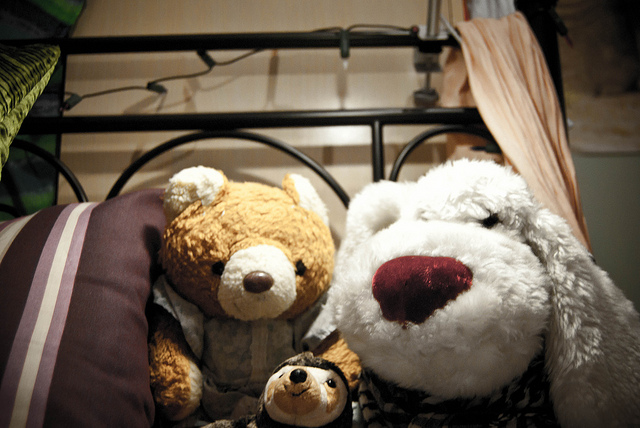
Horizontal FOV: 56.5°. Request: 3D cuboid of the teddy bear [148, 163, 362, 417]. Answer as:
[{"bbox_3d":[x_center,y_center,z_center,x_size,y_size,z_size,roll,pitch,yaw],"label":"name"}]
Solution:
[{"bbox_3d":[-0.164,0.218,1.519,0.480,0.430,0.658,1,106,-13],"label":"teddy bear"}]
